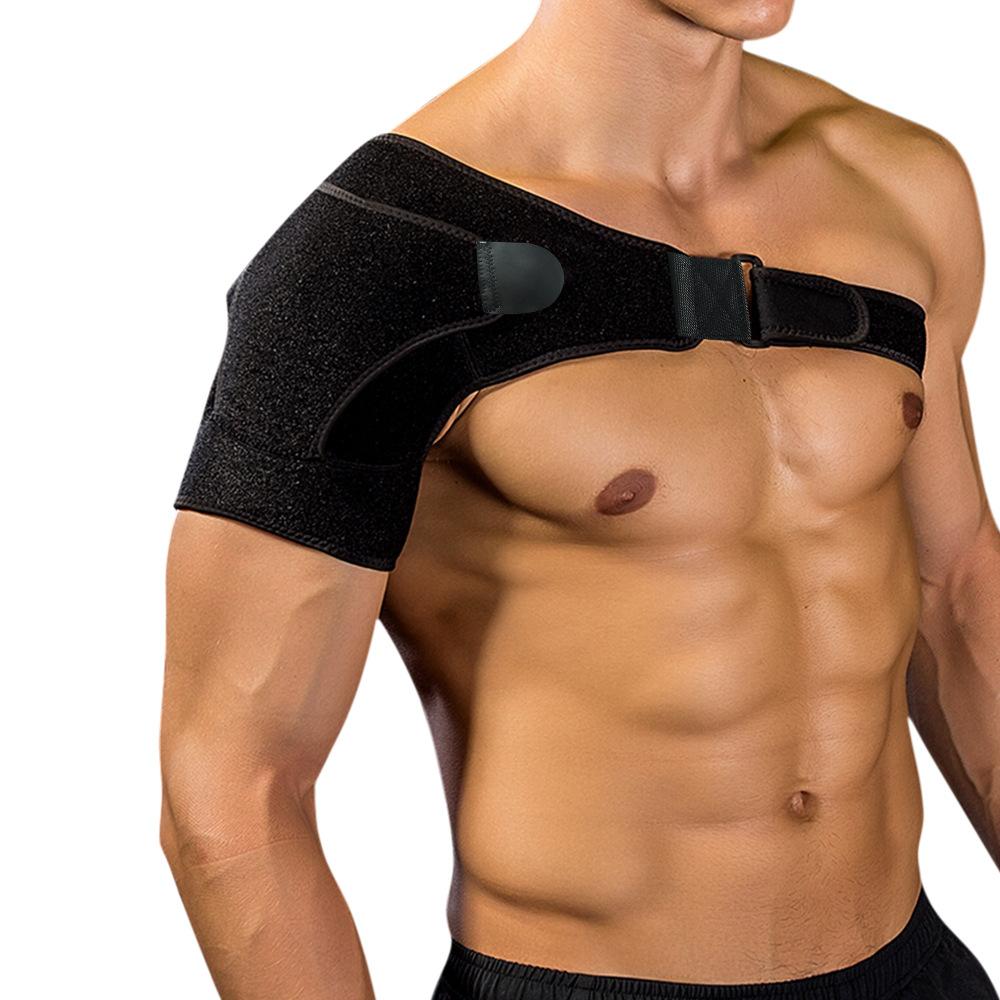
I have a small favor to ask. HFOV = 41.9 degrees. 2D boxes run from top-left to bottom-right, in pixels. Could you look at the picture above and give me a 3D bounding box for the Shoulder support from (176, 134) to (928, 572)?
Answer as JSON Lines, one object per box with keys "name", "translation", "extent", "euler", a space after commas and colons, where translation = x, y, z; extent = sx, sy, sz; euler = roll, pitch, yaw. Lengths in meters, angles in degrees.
{"name": "Shoulder support", "translation": [0.033, -0.174, 1.387], "extent": [0.777, 0.446, 0.154], "euler": [-9, 8, -17]}
